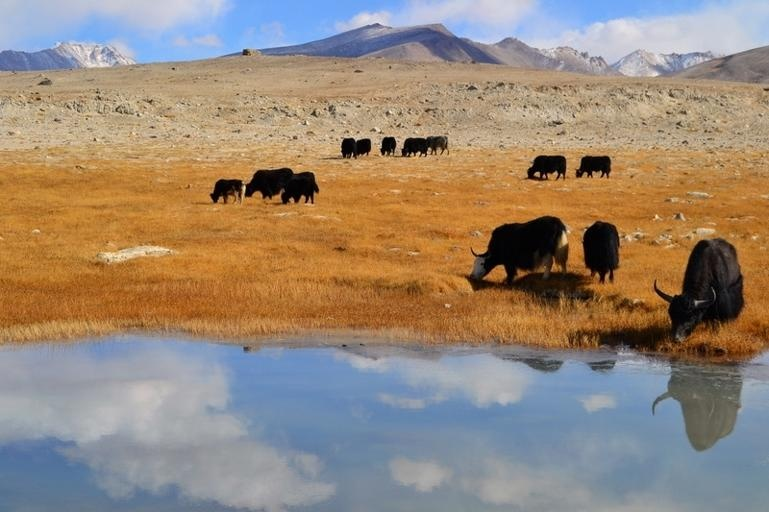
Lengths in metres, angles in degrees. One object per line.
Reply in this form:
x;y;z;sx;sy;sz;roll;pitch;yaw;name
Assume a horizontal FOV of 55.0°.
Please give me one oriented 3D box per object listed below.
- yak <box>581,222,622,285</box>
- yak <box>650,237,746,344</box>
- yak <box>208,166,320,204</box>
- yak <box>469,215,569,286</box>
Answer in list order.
7.000;-0.133;23.651;0.922;1.809;1.365;-3;15;-9;yak
8.374;0.891;19.702;2.419;2.638;3.267;0;0;2;yak
-5.959;-3.551;38.069;5.043;1.654;2.748;-2;14;-5;yak
3.777;-0.229;24.130;1.518;2.301;4.548;2;-6;-44;yak
